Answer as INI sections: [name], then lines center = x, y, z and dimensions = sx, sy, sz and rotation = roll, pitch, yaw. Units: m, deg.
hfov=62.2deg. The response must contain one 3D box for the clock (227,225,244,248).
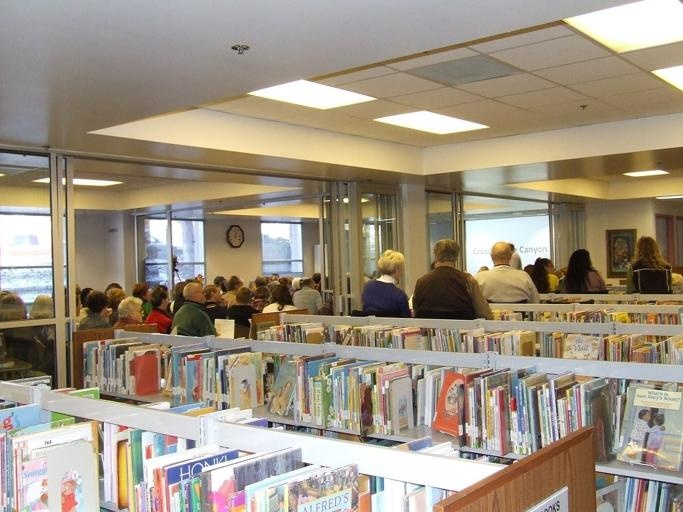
[clock]
center = -3.086, -0.580, 16.414
dimensions = 0.066, 0.621, 0.677
rotation = -6, -4, 32
